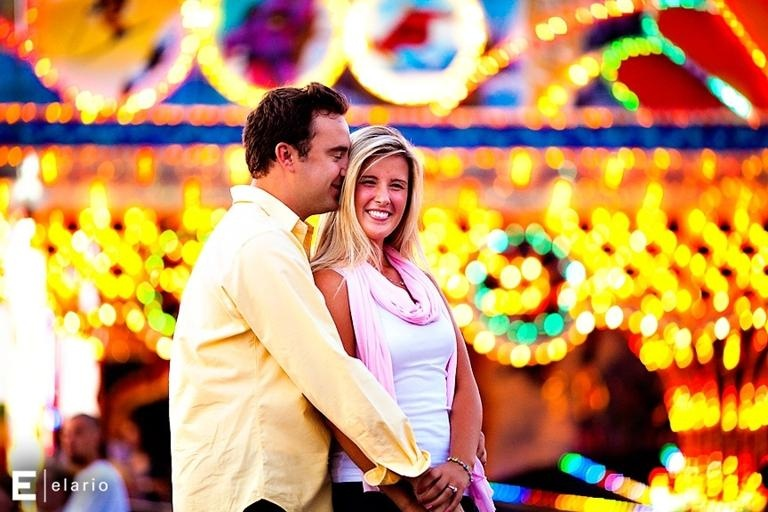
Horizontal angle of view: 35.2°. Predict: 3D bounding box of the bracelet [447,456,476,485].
[{"bbox_3d":[0.392,1.055,5.986,0.036,0.134,0.101,-59,-8,26],"label":"bracelet"}]
